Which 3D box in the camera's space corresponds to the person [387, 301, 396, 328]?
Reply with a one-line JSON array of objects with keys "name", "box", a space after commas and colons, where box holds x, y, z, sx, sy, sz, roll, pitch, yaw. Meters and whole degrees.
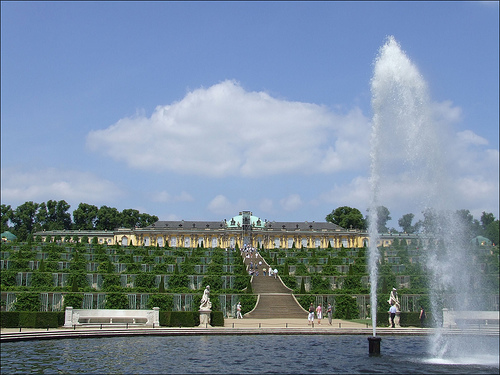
[{"name": "person", "box": [11.765, 10.416, 57.031, 0.682, 1.999, 1.573, -2, -10, 10]}]
